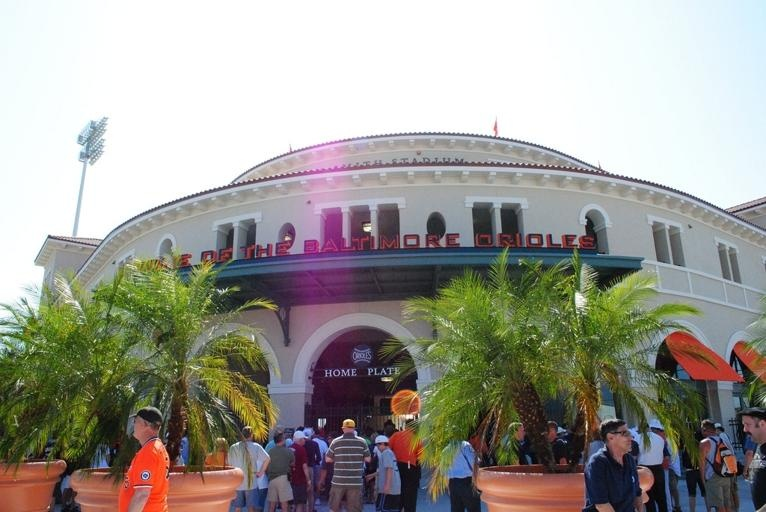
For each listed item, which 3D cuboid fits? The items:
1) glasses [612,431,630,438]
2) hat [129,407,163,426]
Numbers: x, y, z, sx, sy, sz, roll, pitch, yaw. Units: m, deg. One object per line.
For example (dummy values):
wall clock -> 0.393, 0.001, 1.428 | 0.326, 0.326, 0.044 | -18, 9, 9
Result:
glasses -> 3.206, 2.428, 6.869 | 0.147, 0.046, 0.147 | -18, -25, 25
hat -> -3.385, 2.254, 7.177 | 0.341, 0.183, 0.254 | 9, -18, 5
